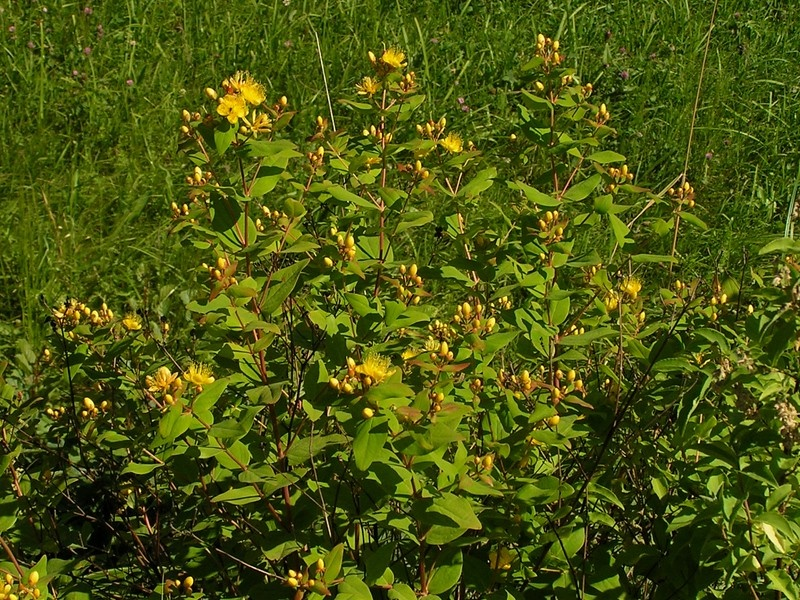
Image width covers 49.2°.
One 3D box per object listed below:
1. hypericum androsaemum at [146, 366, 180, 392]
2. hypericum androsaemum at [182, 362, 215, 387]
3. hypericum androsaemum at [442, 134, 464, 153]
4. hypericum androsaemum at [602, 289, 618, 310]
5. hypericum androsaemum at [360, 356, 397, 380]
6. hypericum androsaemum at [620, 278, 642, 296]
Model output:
[{"bbox_3d":[-0.654,0.218,2.383,0.089,0.059,0.082,-6,12,8],"label":"hypericum androsaemum"},{"bbox_3d":[-0.576,0.205,2.503,0.077,0.051,0.092,-2,21,-10],"label":"hypericum androsaemum"},{"bbox_3d":[0.174,-0.548,2.995,0.066,0.040,0.080,-4,72,-21],"label":"hypericum androsaemum"},{"bbox_3d":[0.702,-0.002,2.905,0.042,0.071,0.083,2,39,9],"label":"hypericum androsaemum"},{"bbox_3d":[-0.061,0.177,2.340,0.065,0.044,0.067,22,26,34],"label":"hypericum androsaemum"},{"bbox_3d":[0.764,-0.041,2.901,0.065,0.074,0.068,-2,21,2],"label":"hypericum androsaemum"}]
